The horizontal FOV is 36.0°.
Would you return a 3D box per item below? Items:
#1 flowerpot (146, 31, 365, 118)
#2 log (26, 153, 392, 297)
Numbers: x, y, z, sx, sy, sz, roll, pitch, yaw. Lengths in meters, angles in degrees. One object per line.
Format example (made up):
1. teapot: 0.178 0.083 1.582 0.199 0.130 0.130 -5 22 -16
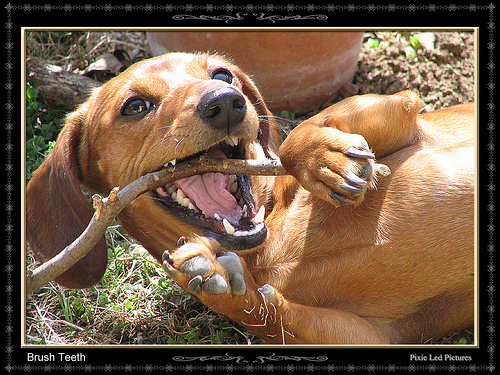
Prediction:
1. flowerpot: 0.252 -1.056 5.975 0.888 0.714 0.972 -22 8 10
2. log: -0.371 0.211 5.237 1.686 0.942 1.969 -15 23 -33
